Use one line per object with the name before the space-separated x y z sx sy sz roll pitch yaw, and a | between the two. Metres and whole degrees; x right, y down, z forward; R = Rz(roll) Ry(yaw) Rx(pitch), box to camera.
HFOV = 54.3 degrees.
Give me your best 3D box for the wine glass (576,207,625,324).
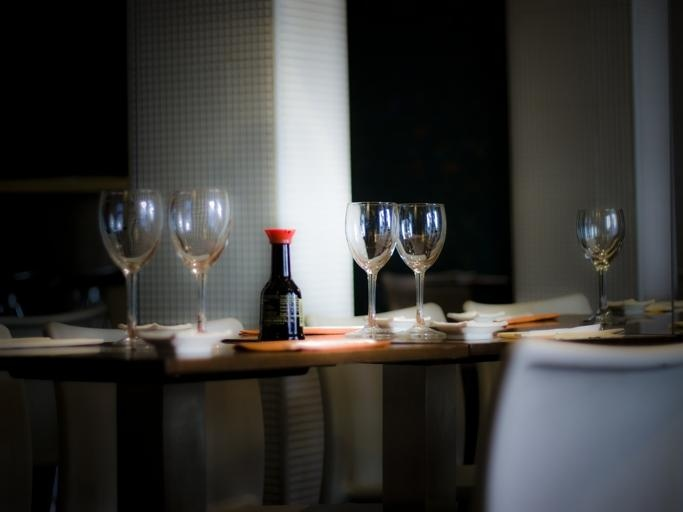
wine glass | 0.662 0.010 1.693 0.102 0.282 0.473 -4 0 21
